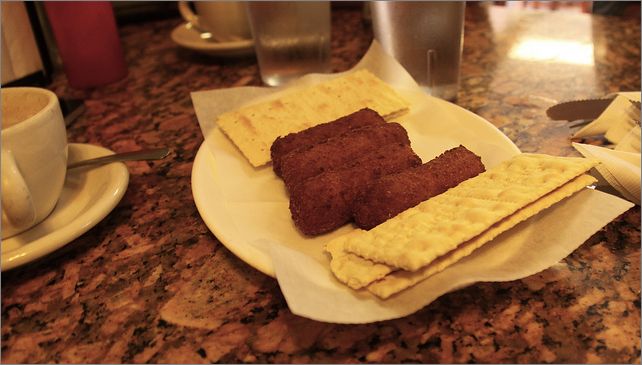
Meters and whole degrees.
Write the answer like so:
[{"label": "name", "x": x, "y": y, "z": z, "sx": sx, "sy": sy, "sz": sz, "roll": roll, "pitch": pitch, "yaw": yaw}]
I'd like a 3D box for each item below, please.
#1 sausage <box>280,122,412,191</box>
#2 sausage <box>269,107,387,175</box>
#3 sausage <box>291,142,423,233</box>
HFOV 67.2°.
[{"label": "sausage", "x": 0.062, "y": -0.067, "z": 1.345, "sx": 0.429, "sy": 0.113, "sz": 0.131, "roll": -17, "pitch": 53, "yaw": -10}, {"label": "sausage", "x": 0.040, "y": -0.102, "z": 1.397, "sx": 0.336, "sy": 0.085, "sz": 0.144, "roll": -15, "pitch": 43, "yaw": -7}, {"label": "sausage", "x": 0.095, "y": 0.038, "z": 1.265, "sx": 0.367, "sy": 0.121, "sz": 0.150, "roll": -23, "pitch": 49, "yaw": -14}]
